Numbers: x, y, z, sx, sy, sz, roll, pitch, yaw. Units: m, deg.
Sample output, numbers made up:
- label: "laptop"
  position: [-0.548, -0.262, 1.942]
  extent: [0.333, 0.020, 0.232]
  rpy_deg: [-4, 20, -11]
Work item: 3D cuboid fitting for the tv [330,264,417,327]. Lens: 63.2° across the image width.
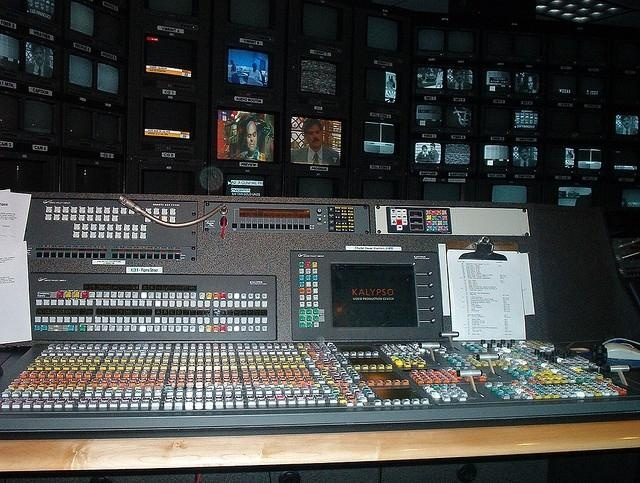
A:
- label: "tv"
  position: [0.167, 0.172, 1.712]
  extent: [0.399, 0.232, 0.034]
  rpy_deg: [3, -6, -34]
